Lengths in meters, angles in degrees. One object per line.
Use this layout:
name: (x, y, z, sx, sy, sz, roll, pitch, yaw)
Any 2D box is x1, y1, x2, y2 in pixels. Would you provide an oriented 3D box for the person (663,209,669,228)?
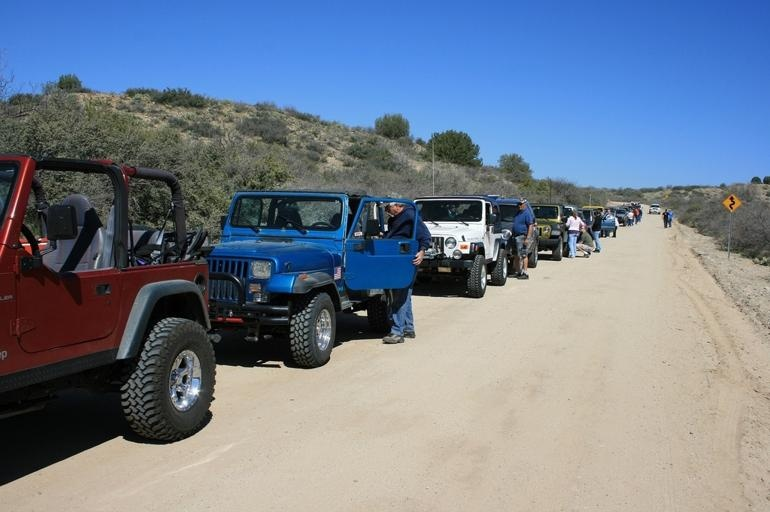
person: (24.843, -3.176, 47.759, 0.336, 1.398, 0.878, 6, 10, 28)

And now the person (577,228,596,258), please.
person: (9.843, -0.578, 26.487, 0.685, 0.614, 1.561, -4, 38, 32)

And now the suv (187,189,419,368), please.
suv: (-1.012, 0.173, 8.534, 2.437, 1.620, 3.041, 1, 0, 20)

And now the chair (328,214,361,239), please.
chair: (-0.669, -0.459, 8.493, 0.323, 0.187, 0.179, 24, 17, 28)

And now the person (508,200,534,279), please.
person: (4.200, -0.493, 16.423, 0.655, 2.415, 1.000, 1, 9, 3)

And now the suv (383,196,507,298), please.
suv: (2.063, -0.399, 14.395, 1.723, 1.717, 3.219, 0, -1, 21)

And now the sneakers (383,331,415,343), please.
sneakers: (0.241, 1.383, 9.235, 0.581, 0.274, 0.194, 6, -8, -41)
